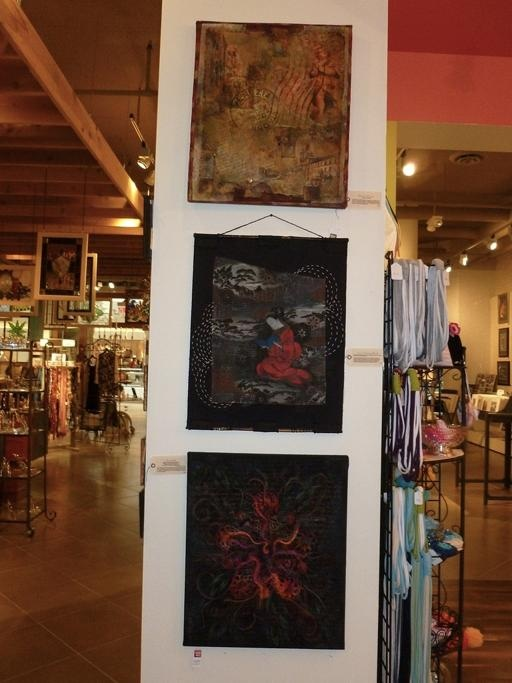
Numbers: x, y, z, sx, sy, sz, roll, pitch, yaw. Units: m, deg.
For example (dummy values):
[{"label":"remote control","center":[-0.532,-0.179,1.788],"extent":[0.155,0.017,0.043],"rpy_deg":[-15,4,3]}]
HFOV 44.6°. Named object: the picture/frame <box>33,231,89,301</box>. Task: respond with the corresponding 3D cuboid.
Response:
[{"label":"picture/frame","center":[-1.806,-0.708,5.785],"extent":[0.441,0.643,0.272],"rpy_deg":[0,-1,-18]}]
